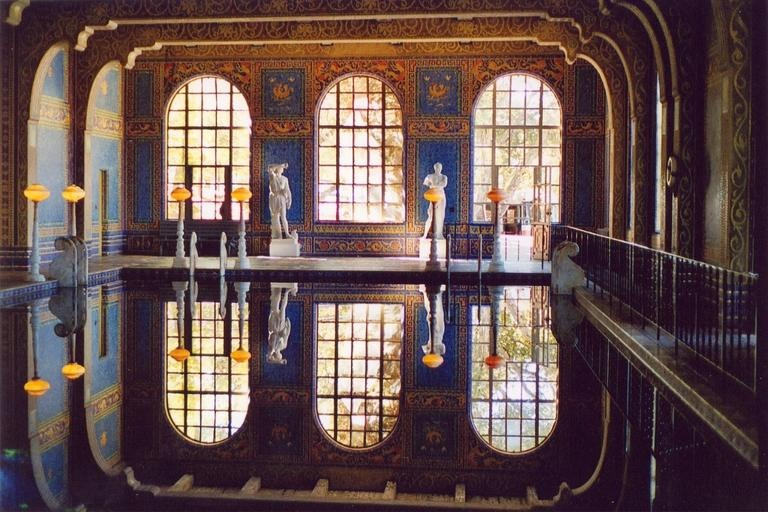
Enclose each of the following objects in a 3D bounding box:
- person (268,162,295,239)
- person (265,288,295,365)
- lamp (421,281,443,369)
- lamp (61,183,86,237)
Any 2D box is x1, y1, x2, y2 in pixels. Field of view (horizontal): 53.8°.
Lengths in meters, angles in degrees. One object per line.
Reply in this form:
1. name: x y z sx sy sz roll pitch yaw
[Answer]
1. person: -2.589 -1.344 18.708 0.527 1.844 0.444 -3 9 -18
2. person: -1.450 0.962 10.397 0.429 1.589 0.638 -2 4 -11
3. lamp: 0.724 0.958 10.369 0.334 1.178 0.332 -5 -11 36
4. lamp: -6.726 -0.948 16.171 0.495 1.229 1.838 -4 11 -23
